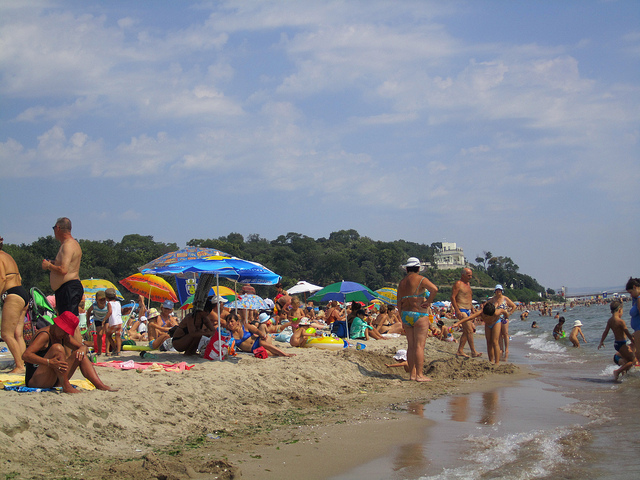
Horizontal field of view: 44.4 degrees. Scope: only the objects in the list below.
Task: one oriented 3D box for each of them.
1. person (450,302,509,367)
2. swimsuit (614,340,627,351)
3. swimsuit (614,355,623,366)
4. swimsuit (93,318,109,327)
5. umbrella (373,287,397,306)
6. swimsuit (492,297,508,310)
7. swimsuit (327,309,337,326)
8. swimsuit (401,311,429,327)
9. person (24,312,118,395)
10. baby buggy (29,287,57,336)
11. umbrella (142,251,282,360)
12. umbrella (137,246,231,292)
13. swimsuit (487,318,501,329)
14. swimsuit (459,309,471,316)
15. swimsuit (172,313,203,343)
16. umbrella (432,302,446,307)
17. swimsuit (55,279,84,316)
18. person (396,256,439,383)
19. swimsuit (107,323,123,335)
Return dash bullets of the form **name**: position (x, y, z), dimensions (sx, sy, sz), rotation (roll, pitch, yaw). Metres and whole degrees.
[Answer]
- **person**: position (3.337, 1.870, 15.746), dimensions (0.632, 1.269, 1.280), rotation (4, 4, 36)
- **swimsuit**: position (5.552, 1.953, 14.555), dimensions (0.173, 0.148, 0.185), rotation (-8, 4, -2)
- **swimsuit**: position (5.535, 2.232, 14.592), dimensions (0.145, 0.111, 0.064), rotation (13, -20, 5)
- **swimsuit**: position (-4.554, 1.710, 16.146), dimensions (0.209, 0.194, 0.208), rotation (16, -41, -29)
- **umbrella**: position (2.025, 1.705, 24.074), dimensions (0.803, 0.354, 0.808), rotation (15, -2, -28)
- **swimsuit**: position (3.937, 1.388, 16.943), dimensions (0.252, 0.274, 0.271), rotation (-4, -15, 34)
- **swimsuit**: position (0.293, 2.110, 21.274), dimensions (0.293, 0.211, 0.386), rotation (21, -57, -30)
- **swimsuit**: position (1.615, 1.379, 14.056), dimensions (0.326, 0.222, 0.311), rotation (2, -8, 31)
- **person**: position (-3.526, 1.598, 11.063), dimensions (1.517, 1.138, 0.762), rotation (-1, 3, 22)
- **baby buggy**: position (-4.036, 1.067, 11.361), dimensions (0.376, 0.741, 0.956), rotation (1, 3, -19)
- **umbrella**: position (-2.071, 1.186, 14.795), dimensions (2.268, 1.888, 2.337), rotation (4, -5, 10)
- **umbrella**: position (-2.427, 0.535, 15.040), dimensions (2.260, 0.848, 2.233), rotation (0, -8, 25)
- **swimsuit**: position (3.553, 1.674, 15.794), dimensions (0.299, 0.215, 0.215), rotation (0, 3, -25)
- **swimsuit**: position (3.076, 1.545, 16.673), dimensions (0.151, 0.072, 0.120), rotation (10, 1, 44)
- **swimsuit**: position (-2.564, 1.751, 15.022), dimensions (0.452, 0.427, 0.341), rotation (3, -7, 10)
- **umbrella**: position (6.774, 3.622, 44.272), dimensions (0.584, 0.266, 0.578), rotation (7, -8, -29)
- **swimsuit**: position (-3.762, 0.842, 11.620), dimensions (0.316, 0.569, 0.426), rotation (16, -22, -38)
- **person**: position (1.769, 1.405, 14.329), dimensions (0.665, 2.238, 1.024), rotation (2, -4, -35)
- **swimsuit**: position (-4.192, 1.787, 15.932), dimensions (0.262, 0.207, 0.345), rotation (19, 22, -23)
